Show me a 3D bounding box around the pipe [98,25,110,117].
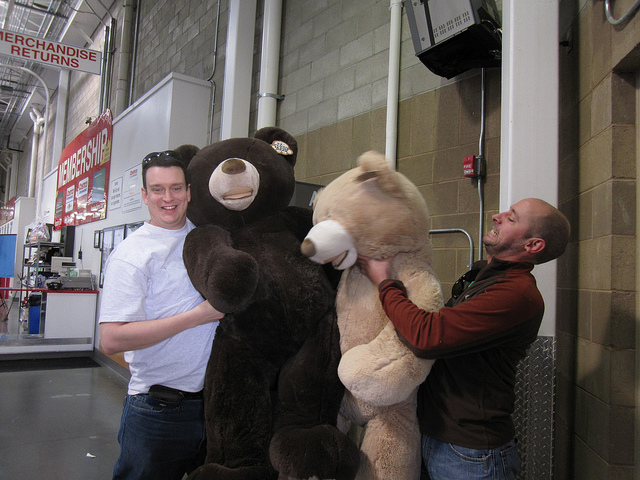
[{"bbox_3d":[-4.018,-3.116,9.597,0.109,1.705,0.105,5,-1,15],"label":"pipe"}]

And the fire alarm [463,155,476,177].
[{"bbox_3d":[1.034,-0.502,3.550,0.050,0.143,0.093,0,2,-38],"label":"fire alarm"}]

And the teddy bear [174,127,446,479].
[{"bbox_3d":[-0.047,0.281,2.286,1.172,1.506,0.545,1,2,-2],"label":"teddy bear"}]

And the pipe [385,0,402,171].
[{"bbox_3d":[0.573,-1.203,3.990,0.096,1.289,0.181,2,2,8],"label":"pipe"}]

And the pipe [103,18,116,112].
[{"bbox_3d":[-3.856,-3.223,9.493,0.169,1.664,0.205,1,2,3],"label":"pipe"}]

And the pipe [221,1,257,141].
[{"bbox_3d":[-0.837,-1.765,5.311,0.310,1.461,0.311,1,2,-8],"label":"pipe"}]
